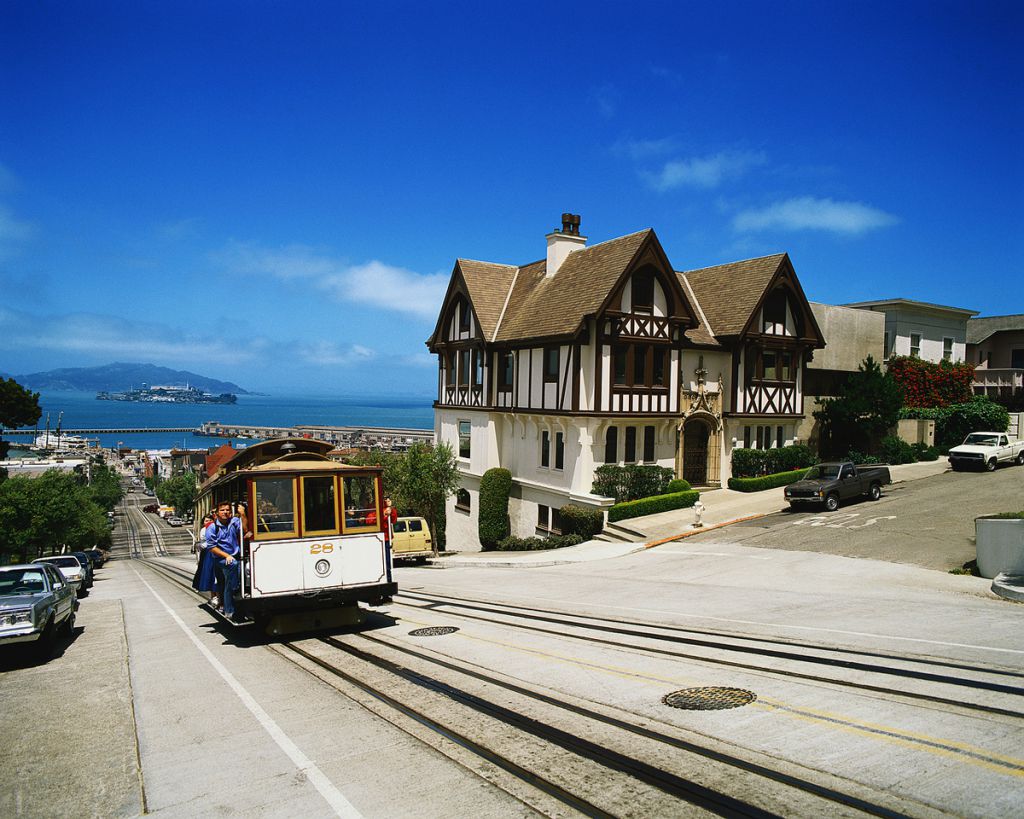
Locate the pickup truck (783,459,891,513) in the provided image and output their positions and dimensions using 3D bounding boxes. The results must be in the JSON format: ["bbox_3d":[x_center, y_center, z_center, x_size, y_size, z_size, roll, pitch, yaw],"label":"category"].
[{"bbox_3d":[13.310,3.087,33.403,4.474,1.568,2.039,2,-7,-39],"label":"pickup truck"}]

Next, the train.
[{"bbox_3d":[-4.953,2.752,17.824,2.496,2.453,4.881,0,-8,-26],"label":"train"}]

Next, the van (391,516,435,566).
[{"bbox_3d":[-4.112,5.150,32.591,1.426,1.170,2.145,-9,-16,37],"label":"van"}]
